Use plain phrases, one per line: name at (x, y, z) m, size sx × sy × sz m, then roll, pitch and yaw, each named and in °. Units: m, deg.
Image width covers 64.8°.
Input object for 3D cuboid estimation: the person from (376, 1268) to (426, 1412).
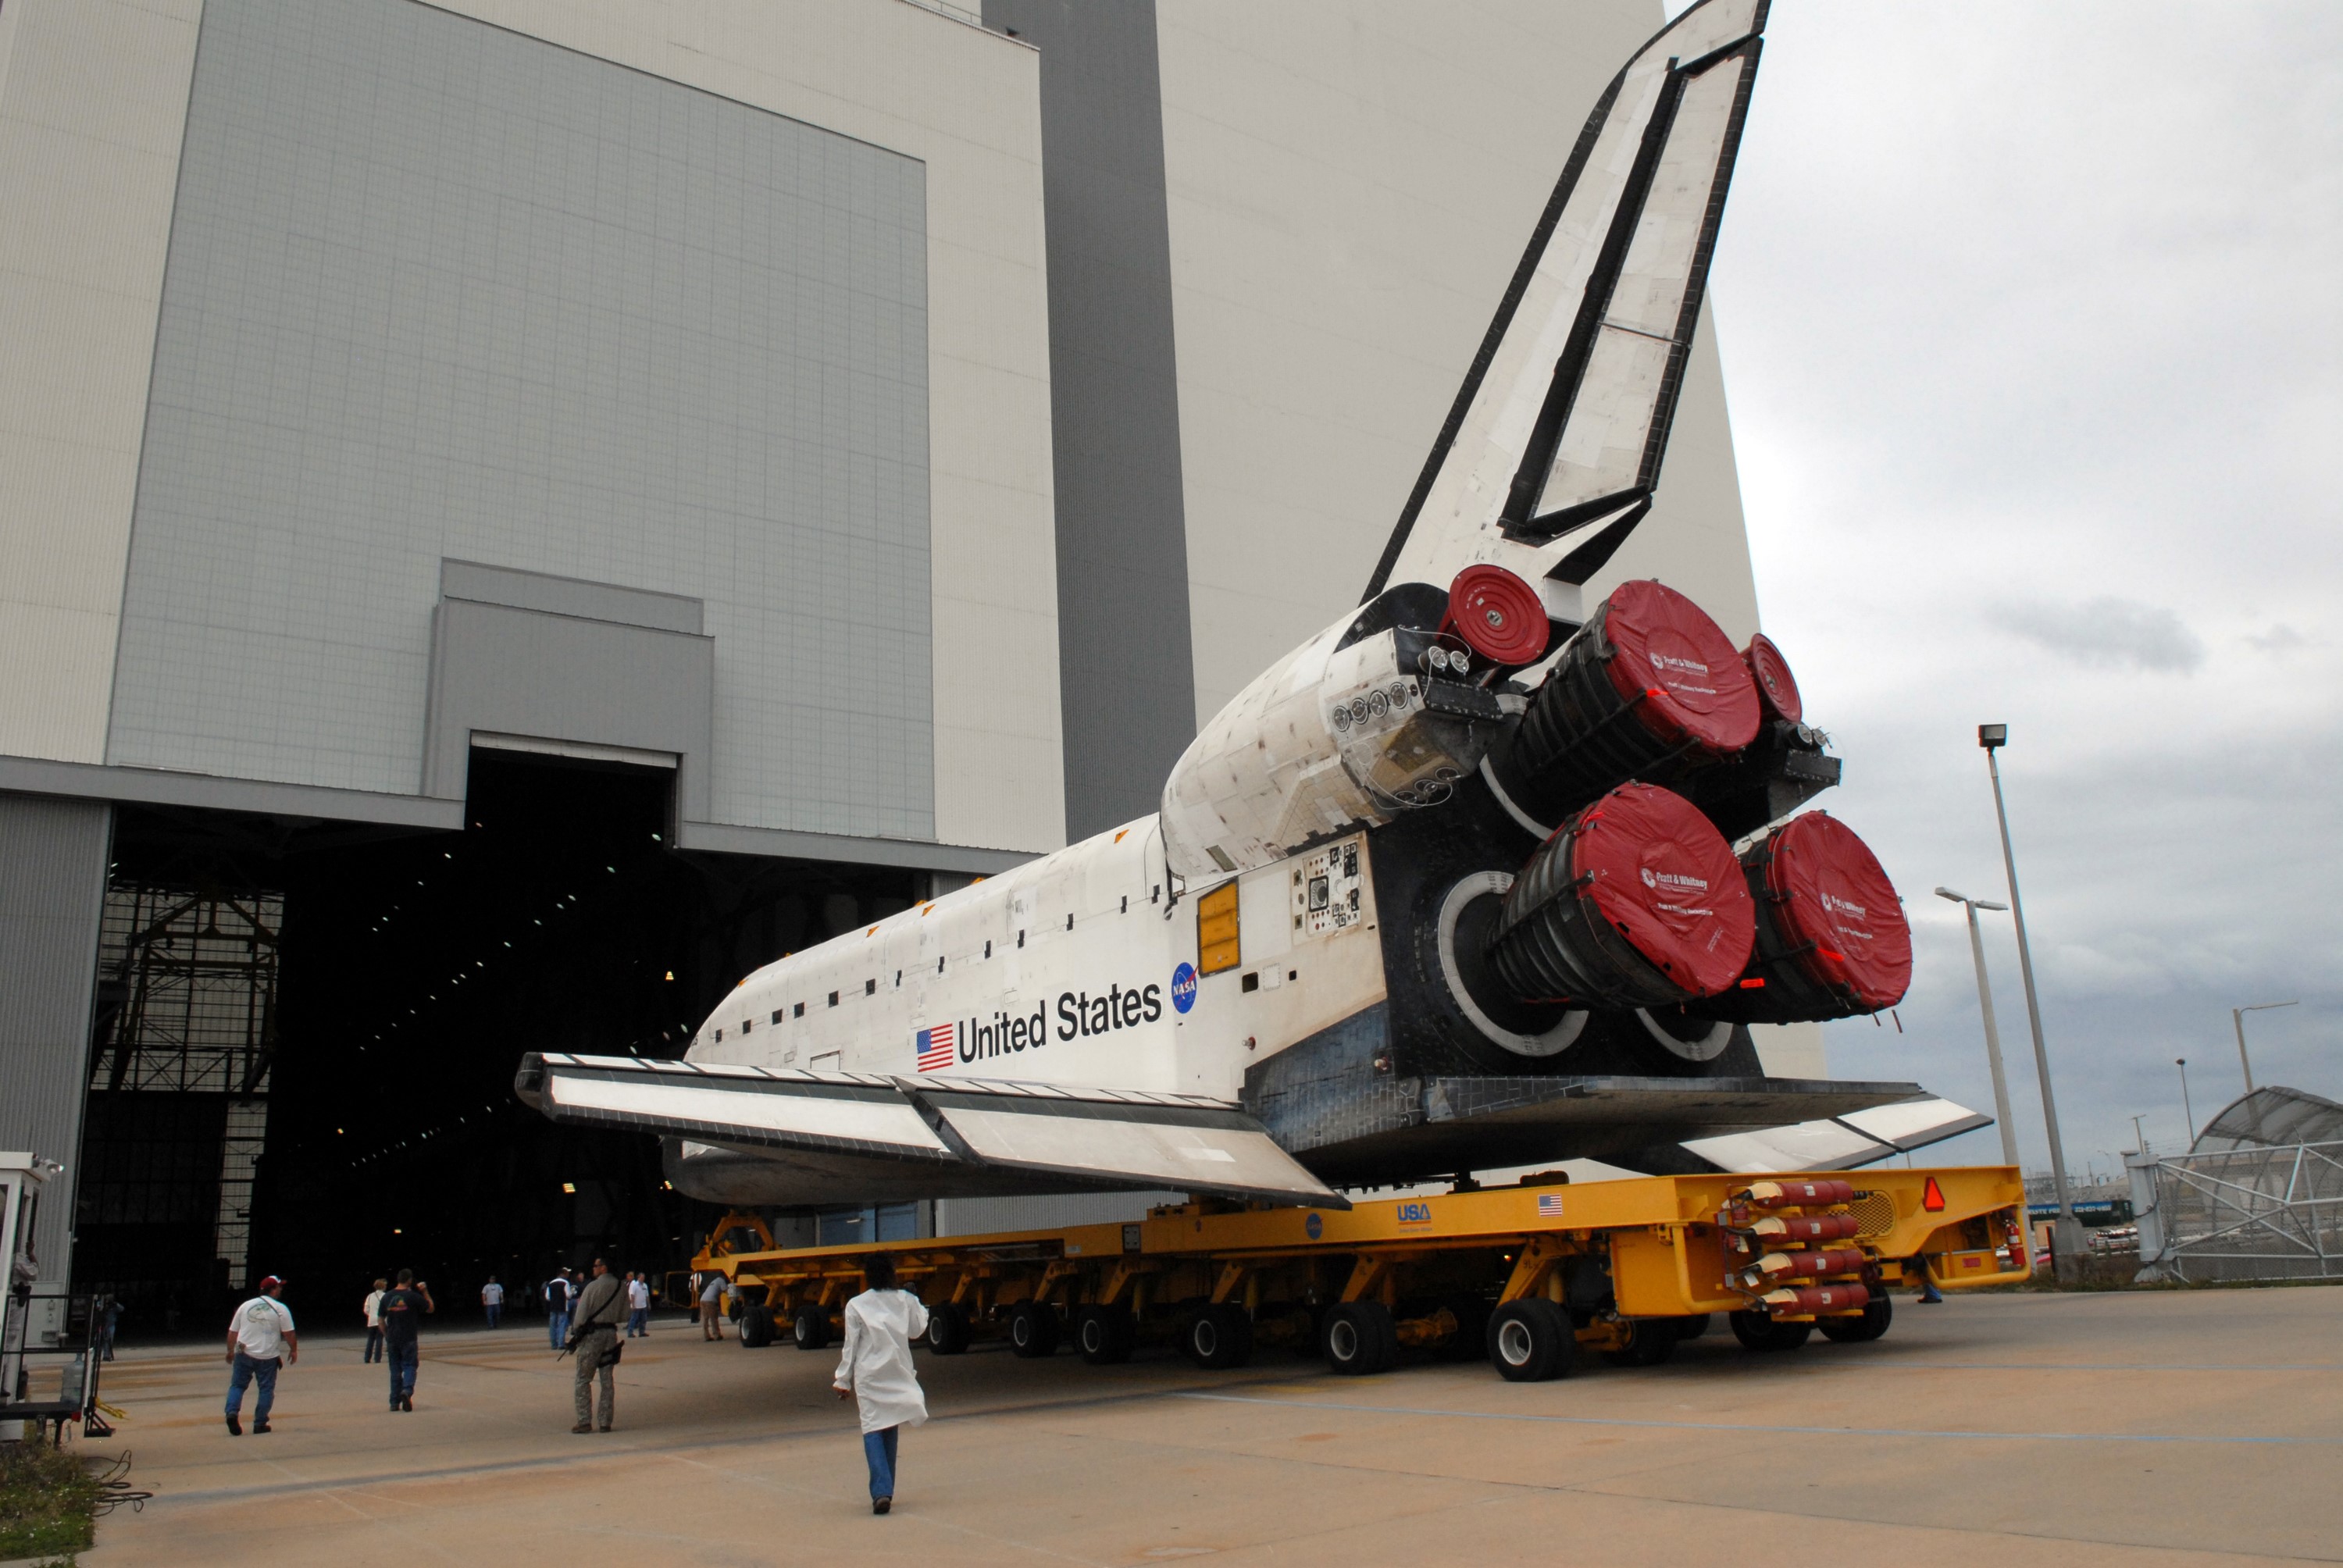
person at (-8.748, 6.292, 20.975) m, size 0.521 × 1.431 × 0.485 m, roll -10°, pitch -16°, yaw 12°
